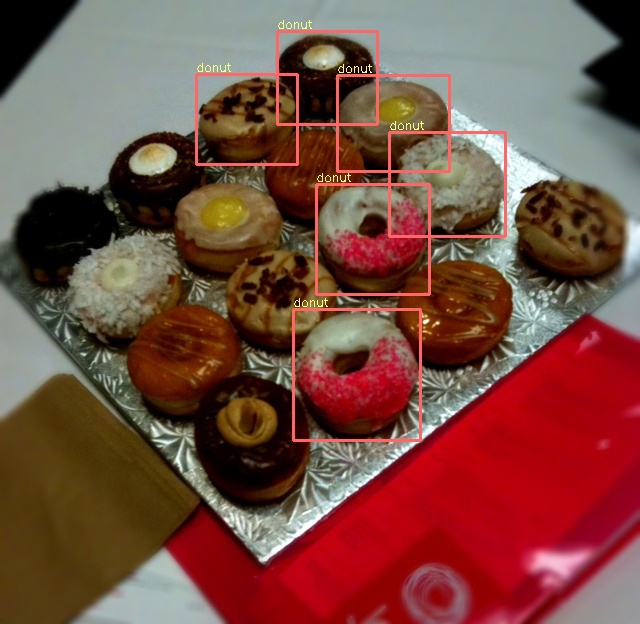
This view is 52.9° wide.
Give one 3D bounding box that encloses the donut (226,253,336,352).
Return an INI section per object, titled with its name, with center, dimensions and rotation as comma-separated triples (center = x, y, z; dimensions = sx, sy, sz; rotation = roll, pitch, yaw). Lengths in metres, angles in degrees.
[donut]
center = -0.219, -0.069, 3.375
dimensions = 0.631, 0.178, 0.523
rotation = -5, 48, -2
